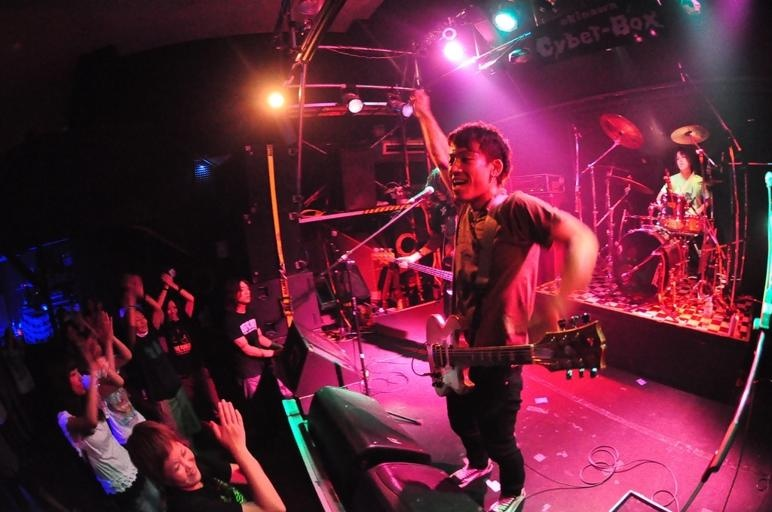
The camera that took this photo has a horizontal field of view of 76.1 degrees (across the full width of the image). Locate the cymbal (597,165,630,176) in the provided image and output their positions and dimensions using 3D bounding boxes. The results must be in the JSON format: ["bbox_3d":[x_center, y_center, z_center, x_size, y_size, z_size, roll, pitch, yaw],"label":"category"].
[{"bbox_3d":[4.040,-1.501,8.687,0.339,0.088,0.337,11,-8,8],"label":"cymbal"}]

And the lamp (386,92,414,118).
[{"bbox_3d":[0.207,-2.199,7.189,0.347,0.266,0.481,-5,2,6],"label":"lamp"}]

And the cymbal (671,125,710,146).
[{"bbox_3d":[4.477,-1.786,7.269,0.296,0.313,0.449,-6,2,-4],"label":"cymbal"}]

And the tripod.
[{"bbox_3d":[4.577,-0.468,7.379,0.703,2.229,1.955,-4,3,30],"label":"tripod"}]

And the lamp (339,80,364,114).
[{"bbox_3d":[-0.453,-2.215,6.875,0.247,0.350,0.372,-4,3,28],"label":"lamp"}]

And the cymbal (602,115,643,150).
[{"bbox_3d":[3.660,-1.946,7.640,0.520,0.511,0.577,-4,3,38],"label":"cymbal"}]

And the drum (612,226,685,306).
[{"bbox_3d":[3.843,0.161,7.169,0.603,1.116,1.116,-1,3,-39],"label":"drum"}]

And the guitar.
[{"bbox_3d":[1.017,0.880,4.263,1.608,0.806,0.290,-3,3,39],"label":"guitar"}]

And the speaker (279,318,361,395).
[{"bbox_3d":[-0.661,1.086,4.909,0.711,0.527,0.697,-14,18,-22],"label":"speaker"}]

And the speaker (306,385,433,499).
[{"bbox_3d":[-0.098,1.380,3.860,0.710,0.455,0.938,15,12,-33],"label":"speaker"}]
